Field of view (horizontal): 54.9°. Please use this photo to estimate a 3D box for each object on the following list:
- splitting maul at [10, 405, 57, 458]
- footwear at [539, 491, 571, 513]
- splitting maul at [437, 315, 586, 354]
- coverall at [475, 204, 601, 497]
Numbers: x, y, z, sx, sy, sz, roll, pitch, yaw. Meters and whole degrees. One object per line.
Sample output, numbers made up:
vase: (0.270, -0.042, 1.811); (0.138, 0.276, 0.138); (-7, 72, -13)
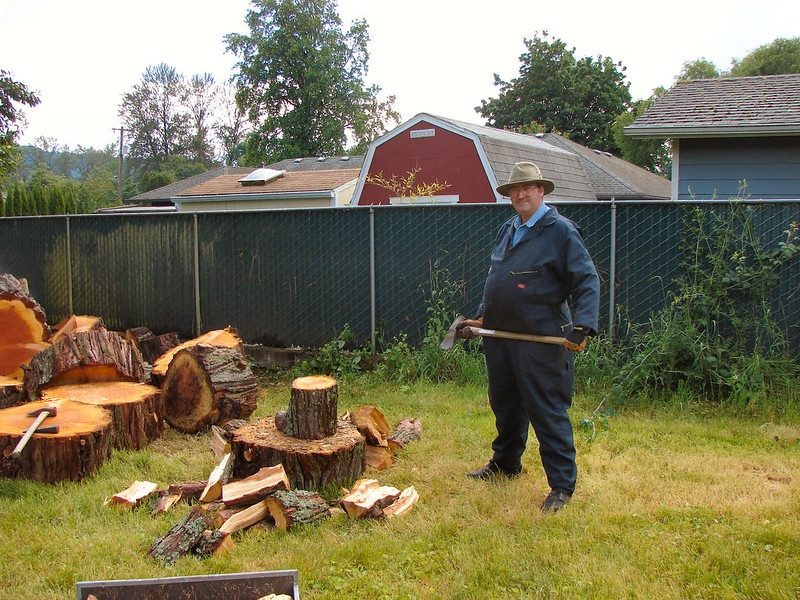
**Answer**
splitting maul: (-2.977, 1.036, 6.211); (0.251, 0.083, 0.524); (4, 34, 5)
footwear: (1.154, 1.507, 5.787); (0.094, 0.094, 0.262); (0, -3, 39)
splitting maul: (0.757, 0.270, 6.077); (0.624, 0.138, 0.450); (5, 11, 44)
coverall: (1.068, 0.351, 6.034); (0.930, 2.154, 0.468); (3, 5, 24)
